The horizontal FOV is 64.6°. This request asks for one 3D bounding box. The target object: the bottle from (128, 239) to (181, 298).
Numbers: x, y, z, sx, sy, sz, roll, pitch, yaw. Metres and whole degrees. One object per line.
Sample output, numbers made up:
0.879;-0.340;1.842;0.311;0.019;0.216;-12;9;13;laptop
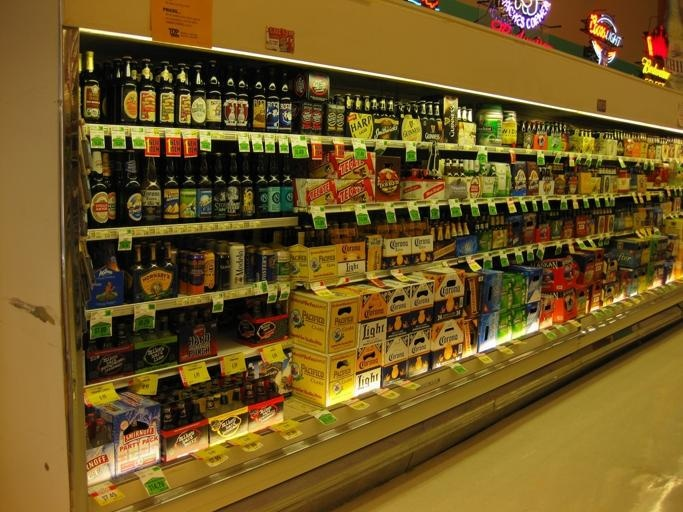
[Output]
-1.049;0.074;3.022;0.258;0.302;0.251;-2;12;-17;bottle
